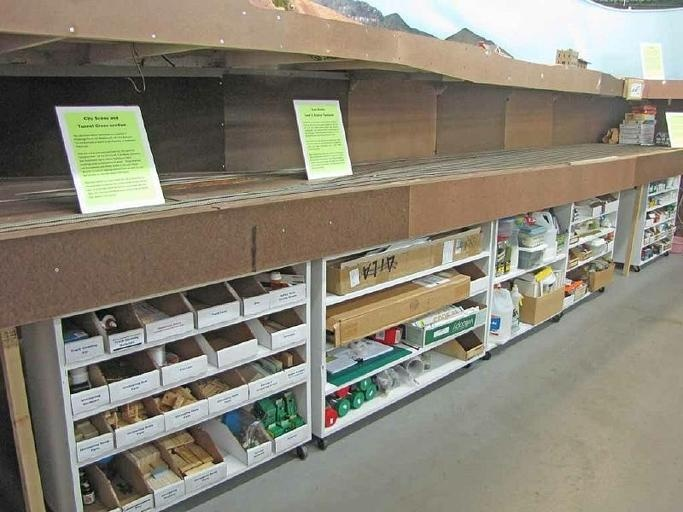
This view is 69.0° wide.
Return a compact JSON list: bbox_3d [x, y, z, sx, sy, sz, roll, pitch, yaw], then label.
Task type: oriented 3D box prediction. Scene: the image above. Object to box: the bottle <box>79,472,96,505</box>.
[{"bbox_3d":[-1.025,0.930,2.007,0.050,0.098,0.095,-19,18,-26],"label":"bottle"}]
